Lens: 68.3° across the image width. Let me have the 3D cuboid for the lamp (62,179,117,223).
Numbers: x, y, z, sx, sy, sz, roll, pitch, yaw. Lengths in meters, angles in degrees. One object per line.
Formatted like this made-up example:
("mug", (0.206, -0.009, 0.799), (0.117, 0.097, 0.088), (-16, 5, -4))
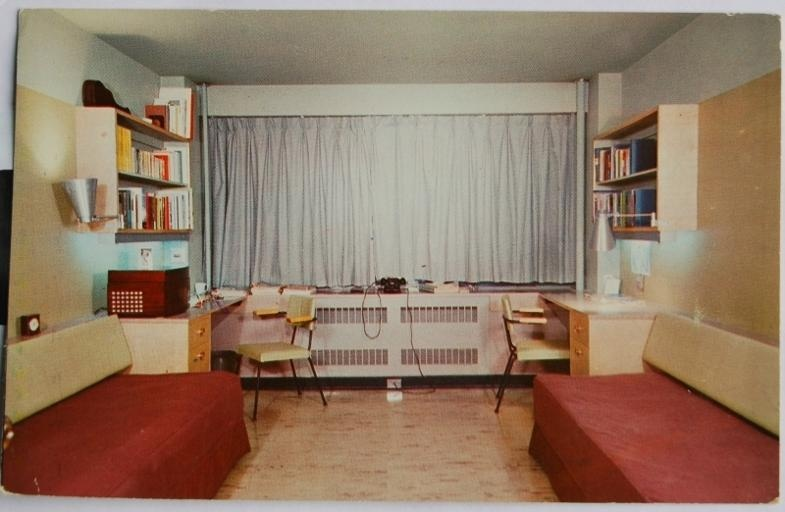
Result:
("lamp", (-1.538, -0.283, 2.947), (0.118, 0.231, 0.217), (-2, 5, 15))

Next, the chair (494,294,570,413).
("chair", (0.942, 0.624, 3.770), (0.556, 0.656, 0.440), (-1, 3, 9))

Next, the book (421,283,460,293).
("book", (0.300, 0.208, 3.796), (0.249, 0.063, 0.049), (-3, 4, 5))

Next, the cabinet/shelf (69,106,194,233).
("cabinet/shelf", (-1.456, -0.485, 3.162), (0.207, 0.533, 0.790), (-1, 0, 0))

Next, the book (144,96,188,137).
("book", (-1.316, -0.805, 3.364), (0.265, 0.250, 0.199), (10, 13, 43))

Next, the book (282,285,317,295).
("book", (-0.620, 0.220, 3.808), (0.231, 0.059, 0.074), (-4, 4, -9))

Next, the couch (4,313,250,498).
("couch", (-1.307, 0.717, 2.873), (0.908, 0.562, 0.894), (0, 1, 0))

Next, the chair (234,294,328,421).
("chair", (-0.643, 0.580, 3.650), (0.661, 0.880, 0.626), (3, -3, -32))

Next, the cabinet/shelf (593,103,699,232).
("cabinet/shelf", (1.467, -0.483, 3.311), (0.273, 0.748, 0.816), (0, 1, -2))

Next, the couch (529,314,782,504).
("couch", (1.274, 0.794, 2.860), (0.869, 0.704, 1.118), (1, 1, 2))

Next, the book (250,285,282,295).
("book", (-0.833, 0.224, 3.808), (0.200, 0.068, 0.031), (-3, 5, -3))
